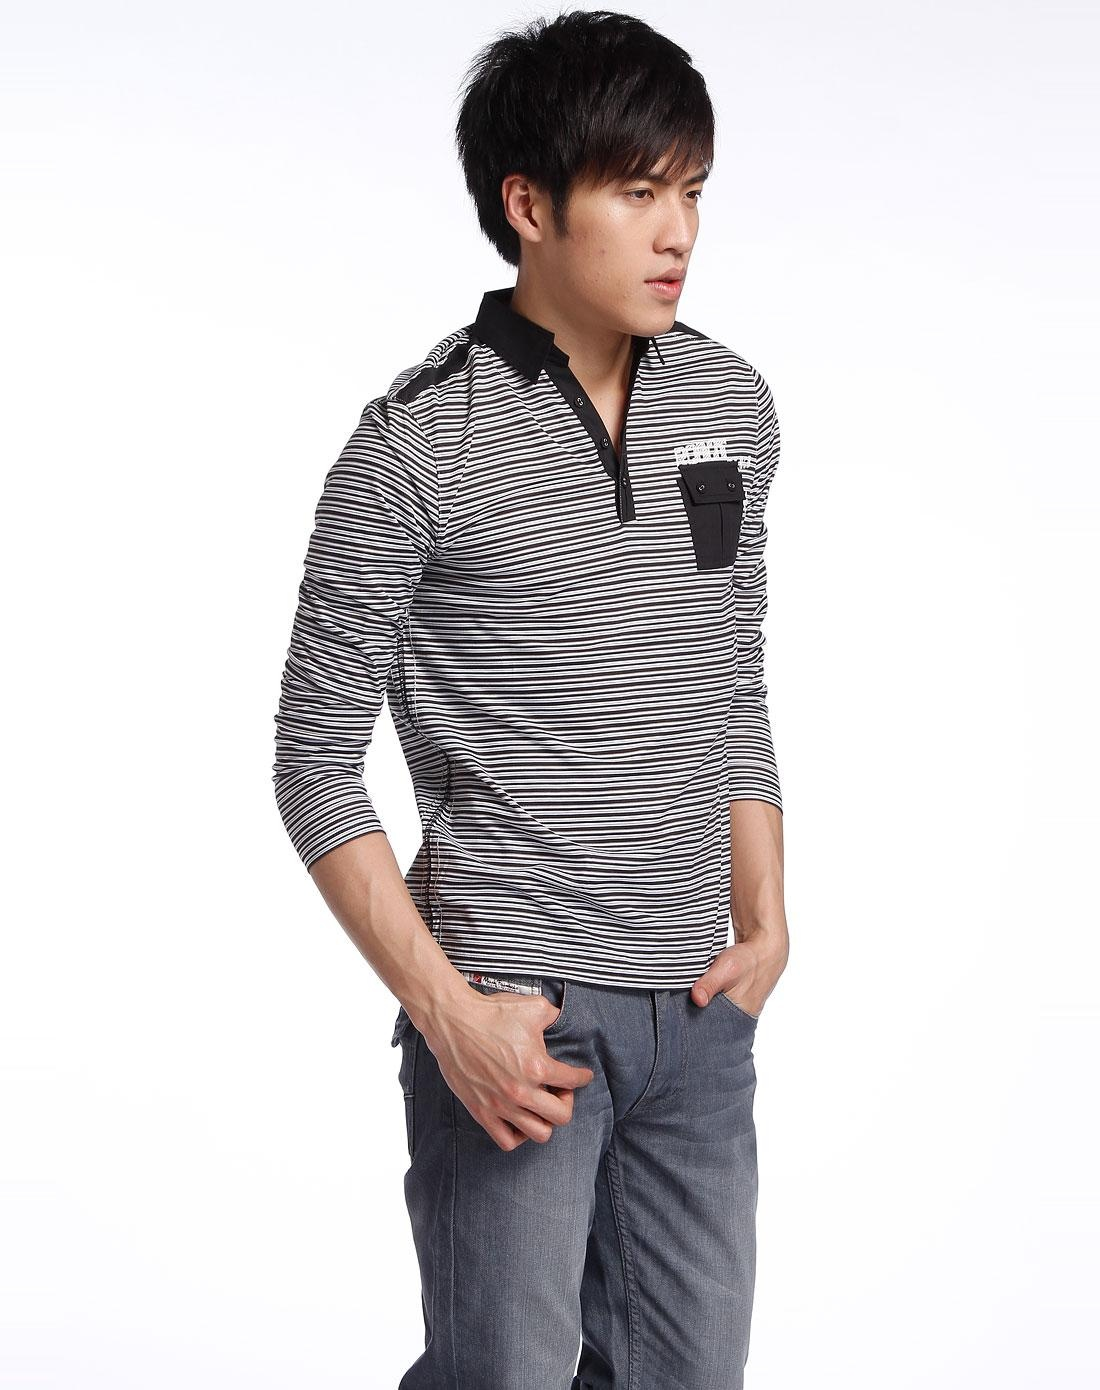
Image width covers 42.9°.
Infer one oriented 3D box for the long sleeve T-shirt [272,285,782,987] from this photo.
[{"bbox_3d":[0.000,-0.076,1.249,0.437,0.651,0.245,9,-20,-9],"label":"long sleeve T-shirt"}]
